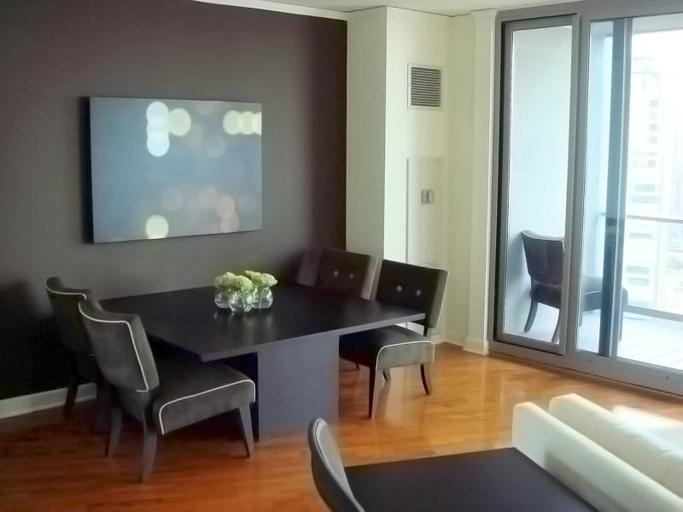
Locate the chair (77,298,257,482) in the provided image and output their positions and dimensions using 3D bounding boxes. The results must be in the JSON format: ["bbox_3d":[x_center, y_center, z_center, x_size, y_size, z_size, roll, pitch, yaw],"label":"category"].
[{"bbox_3d":[-1.153,0.780,3.498,0.704,1.132,0.931,12,14,42],"label":"chair"}]

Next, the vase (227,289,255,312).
[{"bbox_3d":[-0.713,0.303,3.836,0.155,0.175,0.155,-4,7,-39],"label":"vase"}]

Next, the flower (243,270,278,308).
[{"bbox_3d":[-0.557,0.240,3.963,0.167,0.237,0.199,4,6,-13],"label":"flower"}]

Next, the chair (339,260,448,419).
[{"bbox_3d":[0.365,0.573,4.312,0.827,1.036,0.859,8,8,34],"label":"chair"}]

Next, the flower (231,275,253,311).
[{"bbox_3d":[-0.712,0.264,3.809,0.174,0.258,0.165,8,15,37],"label":"flower"}]

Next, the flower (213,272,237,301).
[{"bbox_3d":[-0.811,0.232,3.904,0.103,0.233,0.168,20,-9,-36],"label":"flower"}]

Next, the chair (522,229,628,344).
[{"bbox_3d":[2.150,0.312,5.126,0.628,0.933,0.601,0,5,-19],"label":"chair"}]

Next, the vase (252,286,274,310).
[{"bbox_3d":[-0.588,0.288,3.982,0.132,0.158,0.146,-6,12,-33],"label":"vase"}]
